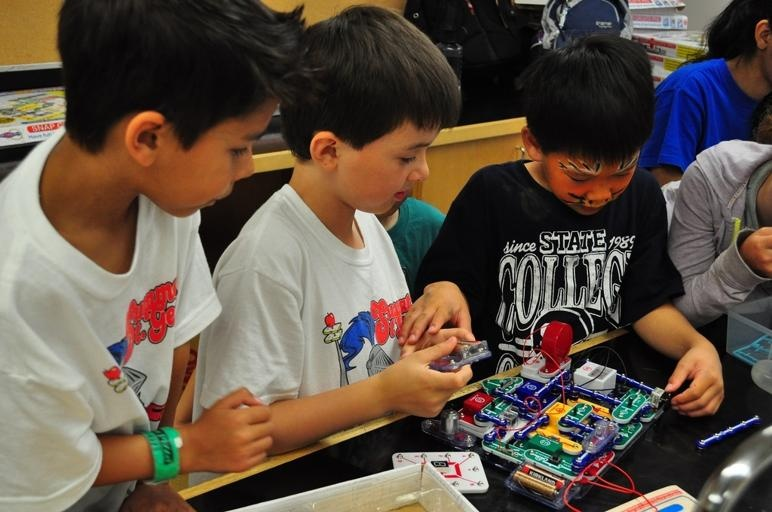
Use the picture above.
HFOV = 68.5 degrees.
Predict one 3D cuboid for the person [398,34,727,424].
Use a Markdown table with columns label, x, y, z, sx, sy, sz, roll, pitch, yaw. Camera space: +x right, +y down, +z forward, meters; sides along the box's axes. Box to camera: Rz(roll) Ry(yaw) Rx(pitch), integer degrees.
| label | x | y | z | sx | sy | sz | roll | pitch | yaw |
| --- | --- | --- | --- | --- | --- | --- | --- | --- | --- |
| person | 0.505 | -0.014 | 1.626 | 0.755 | 1.081 | 0.664 | 4 | 37 | 17 |
